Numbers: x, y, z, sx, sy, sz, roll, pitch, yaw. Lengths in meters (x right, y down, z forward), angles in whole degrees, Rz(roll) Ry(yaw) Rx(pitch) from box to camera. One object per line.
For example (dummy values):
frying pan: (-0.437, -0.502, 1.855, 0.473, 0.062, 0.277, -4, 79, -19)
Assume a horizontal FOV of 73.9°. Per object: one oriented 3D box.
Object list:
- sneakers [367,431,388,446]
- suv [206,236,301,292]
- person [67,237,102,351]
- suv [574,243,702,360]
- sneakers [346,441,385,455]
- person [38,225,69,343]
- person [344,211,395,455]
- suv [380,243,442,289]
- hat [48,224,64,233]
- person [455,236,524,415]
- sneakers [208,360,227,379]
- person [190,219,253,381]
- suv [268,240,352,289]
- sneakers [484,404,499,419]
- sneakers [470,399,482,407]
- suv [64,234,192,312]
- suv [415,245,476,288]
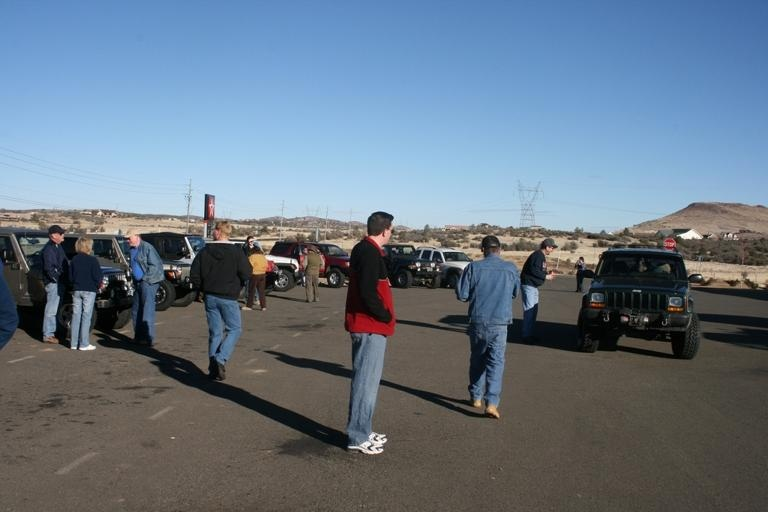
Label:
sneakers: (-0.090, 2.173, 6.147, 0.107, 0.109, 0.290, 0, -2, -34)
suv: (-5.896, 0.493, 22.984, 4.084, 1.786, 2.134, -1, 4, -6)
person: (-6.117, 0.759, 10.471, 0.546, 2.284, 0.672, 0, 7, -37)
suv: (6.099, 0.962, 12.337, 2.076, 1.734, 3.405, -1, -6, 20)
sneakers: (-0.211, 2.231, 5.982, 0.435, 0.188, 0.152, -2, 1, 1)
person: (-7.137, 0.592, 11.006, 0.388, 2.487, 0.623, 2, 6, -20)
person: (-0.161, 0.895, 6.085, 0.614, 2.819, 0.736, 3, 5, -4)
suv: (1.229, 0.566, 28.387, 2.044, 1.589, 3.302, -1, 0, -37)
hat: (-6.994, -0.572, 10.908, 0.278, 0.134, 0.201, -6, 9, -40)
person: (1.477, 0.994, 7.536, 0.886, 2.576, 0.923, 5, 5, 15)
sneakers: (-2.765, 1.837, 8.425, 0.186, 0.431, 0.208, 2, 35, 7)
person: (-2.782, 0.756, 8.679, 0.966, 2.650, 0.980, 2, 5, -18)
suv: (-3.406, 0.533, 26.122, 3.998, 1.736, 2.612, 0, 3, 10)
sneakers: (1.525, 2.177, 7.193, 0.136, 0.098, 0.248, -1, -1, 6)
sneakers: (1.395, 2.204, 7.737, 0.177, 0.163, 0.107, 0, 7, 9)
suv: (-9.063, 0.475, 15.943, 4.962, 2.378, 2.686, 0, 1, 11)
suv: (3.082, 0.586, 28.474, 3.095, 1.471, 1.887, -2, -1, 41)
